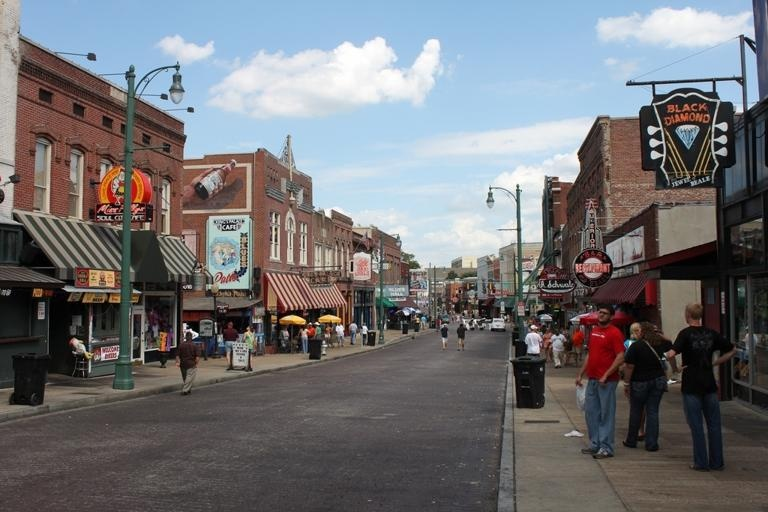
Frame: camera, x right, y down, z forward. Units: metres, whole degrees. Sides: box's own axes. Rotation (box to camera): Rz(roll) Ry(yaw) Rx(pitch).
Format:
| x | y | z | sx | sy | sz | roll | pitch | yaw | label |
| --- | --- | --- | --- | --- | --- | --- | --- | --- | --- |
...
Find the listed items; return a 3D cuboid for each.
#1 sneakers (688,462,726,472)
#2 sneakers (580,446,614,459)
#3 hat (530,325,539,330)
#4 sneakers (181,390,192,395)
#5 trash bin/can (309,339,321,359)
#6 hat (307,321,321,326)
| x | y | z | sx | sy | sz | roll | pitch | yaw | label |
| --- | --- | --- | --- | --- | --- | --- | --- | --- | --- |
| 6.835 | 4.470 | 18.440 | 0.664 | 0.281 | 0.229 | -4 | -2 | 6 | sneakers |
| 4.722 | 4.356 | 19.422 | 0.606 | 0.247 | 0.233 | 2 | -7 | 13 | sneakers |
| 7.147 | 3.492 | 41.949 | 0.379 | 0.254 | 0.531 | 0 | -1 | 17 | hat |
| -6.526 | 4.510 | 28.812 | 0.136 | 0.168 | 0.384 | 1 | -12 | -1 | sneakers |
| -3.592 | 4.775 | 44.661 | 0.804 | 1.202 | 0.828 | -1 | 1 | 3 | trash bin/can |
| -4.441 | 4.442 | 56.650 | 0.616 | 0.170 | 0.633 | 1 | -7 | 0 | hat |
